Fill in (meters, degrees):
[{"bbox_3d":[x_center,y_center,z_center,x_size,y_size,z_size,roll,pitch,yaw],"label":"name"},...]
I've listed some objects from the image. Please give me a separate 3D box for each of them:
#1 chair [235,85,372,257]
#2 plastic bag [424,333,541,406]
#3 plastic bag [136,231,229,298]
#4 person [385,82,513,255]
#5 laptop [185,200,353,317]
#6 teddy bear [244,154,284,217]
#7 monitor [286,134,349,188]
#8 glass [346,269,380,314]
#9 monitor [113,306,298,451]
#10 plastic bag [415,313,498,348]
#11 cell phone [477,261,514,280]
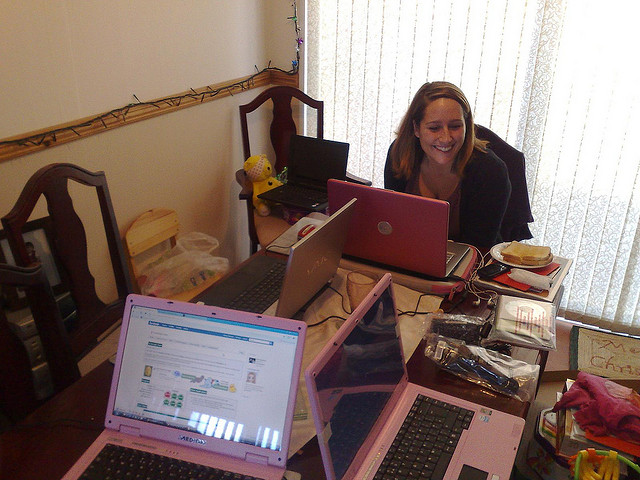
[{"bbox_3d":[-0.189,-0.308,3.385,0.806,1.333,0.599,-6,30,-14],"label":"chair"},{"bbox_3d":[0.522,0.409,1.581,0.319,0.083,0.191,23,39,28],"label":"plastic bag"},{"bbox_3d":[-0.701,0.141,2.582,0.324,0.141,0.425,19,32,24],"label":"plastic bag"},{"bbox_3d":[0.665,-0.346,2.422,0.583,0.896,0.523,23,57,38],"label":"person"},{"bbox_3d":[-0.181,0.034,1.852,0.449,0.348,0.562,12,22,13],"label":"laptop"},{"bbox_3d":[-0.345,-0.354,2.929,0.240,0.338,0.247,15,40,25],"label":"teddy bear"},{"bbox_3d":[-0.085,-0.417,2.824,0.415,0.295,0.309,15,28,28],"label":"monitor"},{"bbox_3d":[0.134,0.165,1.782,0.130,0.155,0.130,12,21,24],"label":"glass"},{"bbox_3d":[-0.308,0.392,1.352,0.485,0.324,0.361,12,7,9],"label":"monitor"},{"bbox_3d":[0.487,0.310,1.696,0.189,0.057,0.119,11,22,31],"label":"plastic bag"},{"bbox_3d":[0.703,0.120,1.970,0.116,0.025,0.068,-24,32,-28],"label":"cell phone"}]
